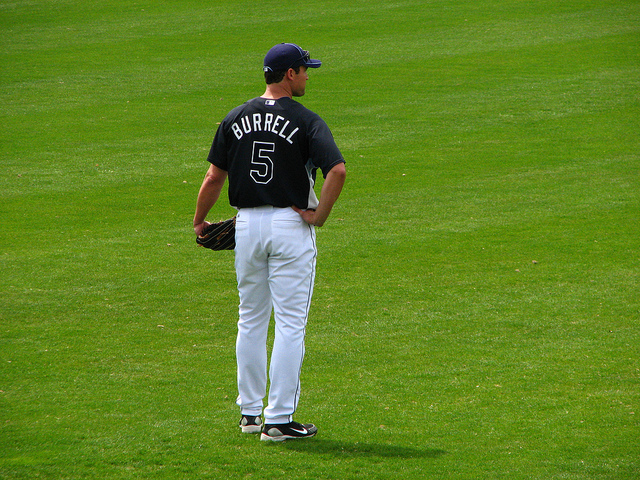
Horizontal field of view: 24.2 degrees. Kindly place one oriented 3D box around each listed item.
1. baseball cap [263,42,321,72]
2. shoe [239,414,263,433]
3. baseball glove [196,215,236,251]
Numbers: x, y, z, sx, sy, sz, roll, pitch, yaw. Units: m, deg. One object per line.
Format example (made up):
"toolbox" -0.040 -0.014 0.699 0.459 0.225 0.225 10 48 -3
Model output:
"baseball cap" -0.326 -2.001 16.422 0.575 0.221 0.326 -10 20 -14
"shoe" -0.768 2.017 16.496 0.251 0.167 0.463 0 4 -3
"baseball glove" -1.091 -0.070 16.631 0.495 0.306 0.143 -22 28 30
